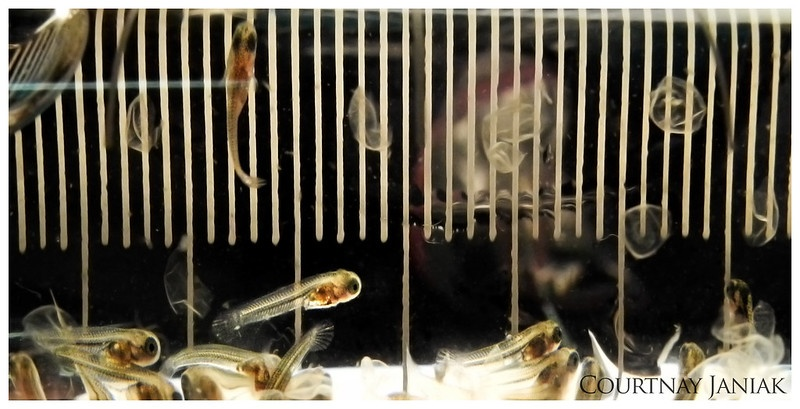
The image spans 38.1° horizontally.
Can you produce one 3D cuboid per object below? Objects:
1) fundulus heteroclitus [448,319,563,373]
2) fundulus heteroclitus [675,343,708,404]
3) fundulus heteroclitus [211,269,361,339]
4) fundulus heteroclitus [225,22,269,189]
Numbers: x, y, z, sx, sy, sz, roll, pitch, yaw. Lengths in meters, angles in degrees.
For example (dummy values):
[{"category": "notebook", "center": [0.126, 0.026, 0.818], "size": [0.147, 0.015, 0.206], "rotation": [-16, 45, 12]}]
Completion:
[{"category": "fundulus heteroclitus", "center": [0.366, 0.534, 4.147], "size": [0.467, 0.156, 0.133], "rotation": [-17, 17, -5]}, {"category": "fundulus heteroclitus", "center": [1.027, 0.572, 4.080], "size": [0.071, 0.249, 0.095], "rotation": [0, 1, 2]}, {"category": "fundulus heteroclitus", "center": [-0.423, 0.334, 4.114], "size": [0.578, 0.207, 0.117], "rotation": [-13, 2, -9]}, {"category": "fundulus heteroclitus", "center": [-0.555, -0.356, 4.140], "size": [0.193, 0.573, 0.211], "rotation": [3, -5, 5]}]
